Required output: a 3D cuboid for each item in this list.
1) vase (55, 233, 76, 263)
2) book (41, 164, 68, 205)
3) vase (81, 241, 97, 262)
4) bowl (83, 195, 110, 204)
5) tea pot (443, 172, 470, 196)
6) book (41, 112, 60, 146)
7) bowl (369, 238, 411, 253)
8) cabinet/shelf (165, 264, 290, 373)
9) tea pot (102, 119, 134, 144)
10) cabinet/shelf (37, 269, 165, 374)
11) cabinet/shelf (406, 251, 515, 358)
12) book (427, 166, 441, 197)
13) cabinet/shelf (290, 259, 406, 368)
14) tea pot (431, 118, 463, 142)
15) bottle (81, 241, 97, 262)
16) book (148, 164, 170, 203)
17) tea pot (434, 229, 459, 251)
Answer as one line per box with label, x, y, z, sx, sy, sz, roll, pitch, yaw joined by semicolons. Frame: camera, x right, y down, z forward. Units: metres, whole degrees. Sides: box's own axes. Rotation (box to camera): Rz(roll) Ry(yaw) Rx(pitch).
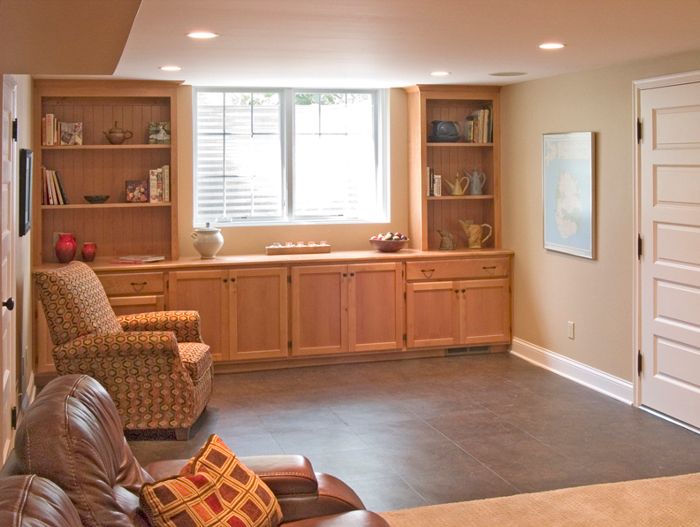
vase;-2.793;-0.156;5.350;0.186;0.286;0.341;-4;7;-28
book;-2.860;-0.744;5.256;0.206;0.363;0.127;-4;7;-29
vase;-2.589;-0.119;5.416;0.150;0.183;0.194;-2;-4;20
bowl;-2.555;-0.656;5.513;0.232;0.093;0.279;-4;7;-26
tea pot;1.235;-0.913;6.318;0.389;0.283;0.184;3;-2;-12
book;-2.894;-1.285;5.258;0.186;0.319;0.340;-1;6;-14
bowl;0.429;-0.200;6.025;0.398;0.153;0.223;0;6;1
cabinet/shelf;-1.202;0.485;5.202;1.119;0.904;0.422;-1;0;-14
tea pot;-2.381;-1.329;5.510;0.313;0.238;0.217;2;1;5
cabinet/shelf;-1.958;0.460;4.195;0.966;0.879;0.370;-3;0;-32
cabinet/shelf;1.153;0.425;5.924;1.133;0.935;0.430;-1;7;-11
book;0.969;-0.932;6.210;0.152;0.347;0.283;0;6;10
cabinet/shelf;-0.066;0.488;5.694;1.133;0.817;0.427;-1;-1;-14
tea pot;1.091;-1.492;6.129;0.310;0.205;0.234;0;0;-5
bottle;-2.630;-0.116;5.462;0.149;0.183;0.146;-2;6;-14
book;-1.935;-0.803;5.543;0.208;0.376;0.093;-3;6;-20
tea pot;1.112;-0.281;6.288;0.242;0.222;0.342;1;7;13
